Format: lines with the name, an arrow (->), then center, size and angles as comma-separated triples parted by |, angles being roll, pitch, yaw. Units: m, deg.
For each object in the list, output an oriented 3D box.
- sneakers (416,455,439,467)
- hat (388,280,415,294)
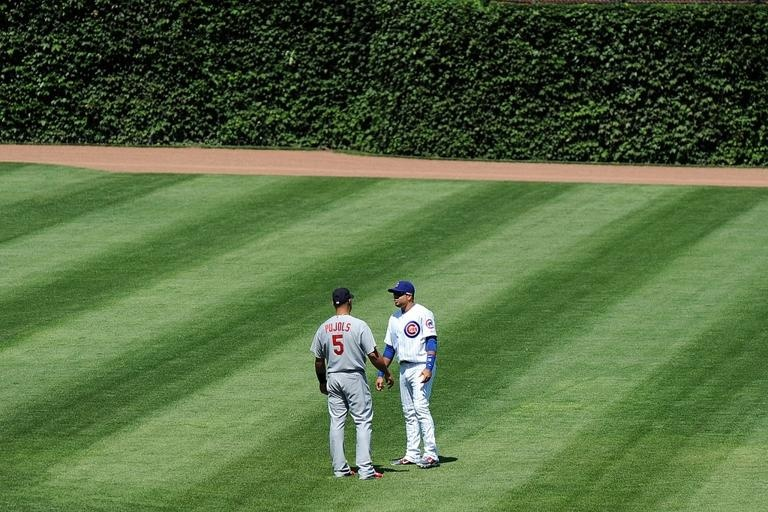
sneakers -> 0.682, 3.285, 22.553 | 0.352, 0.141, 0.147 | 4, -4, -39
hat -> 0.268, 0.479, 22.594 | 0.345, 0.160, 0.230 | 0, -1, -8
